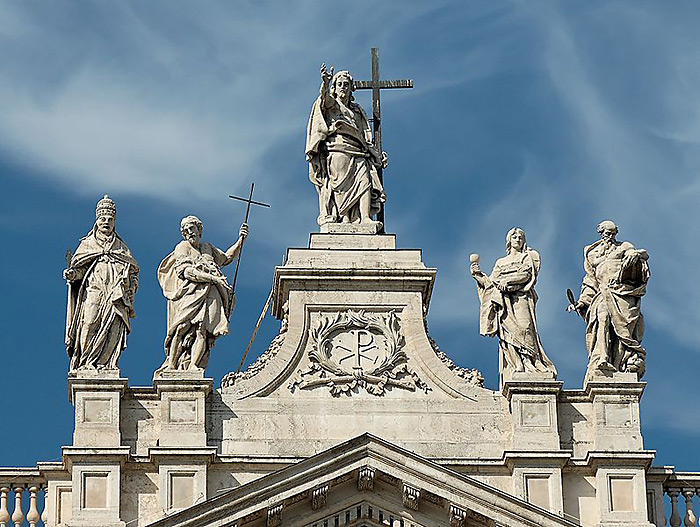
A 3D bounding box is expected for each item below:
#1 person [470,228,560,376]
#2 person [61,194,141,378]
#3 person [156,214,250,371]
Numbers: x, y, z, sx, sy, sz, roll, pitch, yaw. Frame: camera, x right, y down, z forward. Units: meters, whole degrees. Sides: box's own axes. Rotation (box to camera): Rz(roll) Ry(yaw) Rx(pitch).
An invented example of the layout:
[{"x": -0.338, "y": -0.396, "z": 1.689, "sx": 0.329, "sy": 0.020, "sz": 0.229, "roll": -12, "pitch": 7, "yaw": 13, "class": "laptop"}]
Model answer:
[{"x": 3.343, "y": 0.622, "z": 50.176, "sx": 1.466, "sy": 3.475, "sz": 0.642, "roll": -1, "pitch": -21, "yaw": 4, "class": "person"}, {"x": -5.184, "y": 0.288, "z": 49.785, "sx": 1.374, "sy": 3.913, "sz": 0.941, "roll": 1, "pitch": -21, "yaw": -4, "class": "person"}, {"x": -3.210, "y": 0.571, "z": 49.992, "sx": 1.505, "sy": 3.775, "sz": 0.920, "roll": 3, "pitch": -21, "yaw": -6, "class": "person"}]
